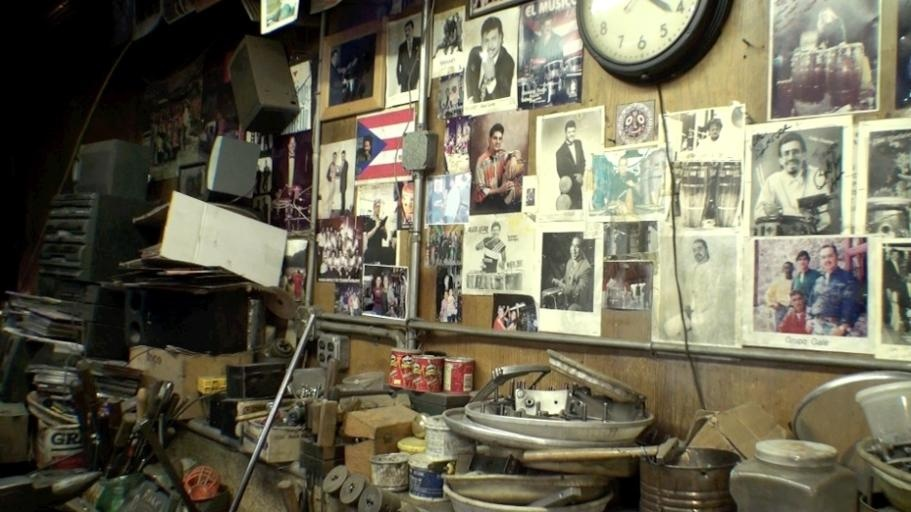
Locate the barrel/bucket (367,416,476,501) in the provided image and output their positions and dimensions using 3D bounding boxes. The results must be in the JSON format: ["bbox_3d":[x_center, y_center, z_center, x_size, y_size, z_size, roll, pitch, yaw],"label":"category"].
[{"bbox_3d":[-0.160,1.255,4.353,0.624,0.450,0.409,-3,-8,31],"label":"barrel/bucket"}]

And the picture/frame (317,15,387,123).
[{"bbox_3d":[-0.791,-1.444,5.407,0.887,0.839,0.060,-4,-8,37],"label":"picture/frame"}]
